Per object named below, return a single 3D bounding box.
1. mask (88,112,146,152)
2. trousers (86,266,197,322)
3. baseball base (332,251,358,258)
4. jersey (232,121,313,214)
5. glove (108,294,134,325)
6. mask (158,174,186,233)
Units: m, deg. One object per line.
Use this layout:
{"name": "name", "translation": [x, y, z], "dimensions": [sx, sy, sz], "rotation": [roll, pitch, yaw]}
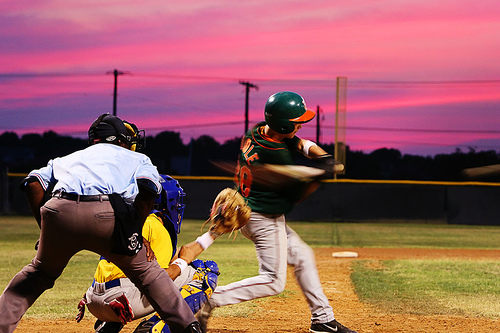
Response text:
{"name": "mask", "translation": [-2.171, -0.558, 15.393], "dimensions": [0.956, 0.611, 0.563], "rotation": [-1, 3, -23]}
{"name": "trousers", "translation": [-1.958, 2.162, 15.487], "dimensions": [1.085, 0.342, 0.991], "rotation": [-11, -1, -41]}
{"name": "baseball base", "translation": [2.313, 2.093, 22.141], "dimensions": [0.603, 0.086, 0.656], "rotation": [2, 3, 41]}
{"name": "jersey", "translation": [0.426, 0.058, 15.841], "dimensions": [1.116, 1.481, 0.334], "rotation": [0, 4, 1]}
{"name": "glove", "translation": [-2.084, 2.348, 15.223], "dimensions": [0.347, 0.428, 0.139], "rotation": [-25, 9, 9]}
{"name": "mask", "translation": [-1.237, 0.640, 15.668], "dimensions": [0.453, 0.937, 0.469], "rotation": [5, 27, 41]}
